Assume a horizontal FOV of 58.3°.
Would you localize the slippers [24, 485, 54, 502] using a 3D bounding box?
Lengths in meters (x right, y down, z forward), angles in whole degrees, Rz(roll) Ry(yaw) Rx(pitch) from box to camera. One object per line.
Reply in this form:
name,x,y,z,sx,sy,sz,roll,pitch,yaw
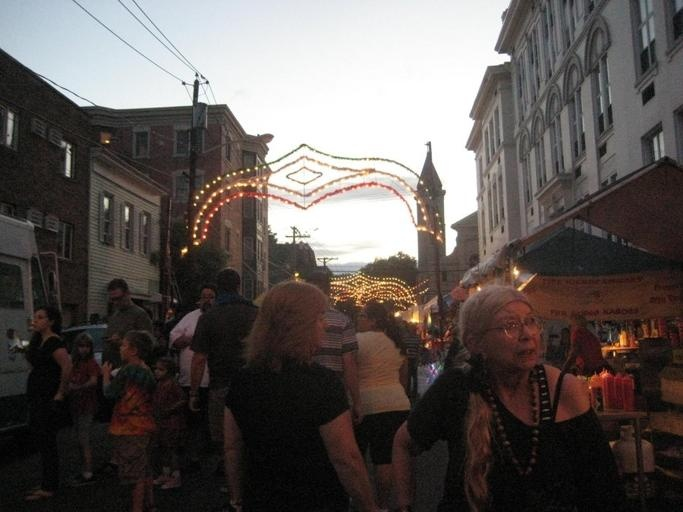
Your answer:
slippers,-3.612,2.834,7.327,0.195,0.148,0.443,0,-1,-32
